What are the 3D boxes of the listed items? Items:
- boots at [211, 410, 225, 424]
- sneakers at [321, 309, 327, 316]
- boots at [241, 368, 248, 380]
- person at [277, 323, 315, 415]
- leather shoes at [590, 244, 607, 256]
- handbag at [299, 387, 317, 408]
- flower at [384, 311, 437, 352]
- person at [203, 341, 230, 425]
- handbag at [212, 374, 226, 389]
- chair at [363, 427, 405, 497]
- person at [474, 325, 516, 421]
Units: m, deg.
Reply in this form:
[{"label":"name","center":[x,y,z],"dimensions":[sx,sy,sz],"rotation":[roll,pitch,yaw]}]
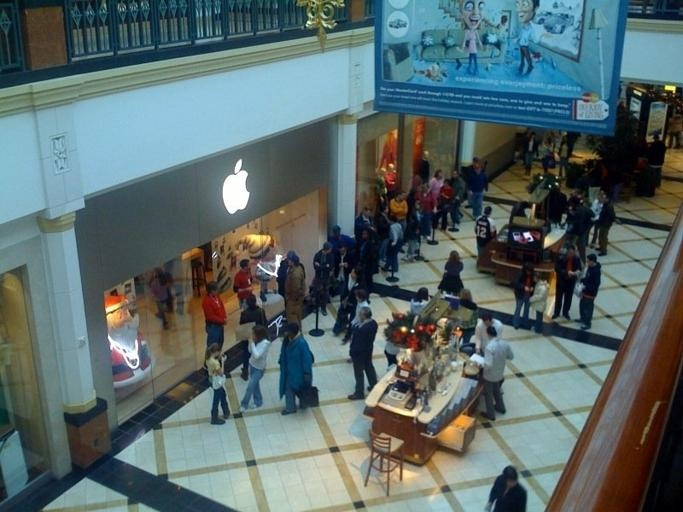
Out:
[{"label":"boots","center":[-1.929,2.533,8.273],"dimensions":[0.239,0.250,0.132],"rotation":[-6,42,-13]},{"label":"sneakers","center":[-0.381,1.177,11.237],"dimensions":[0.063,0.114,0.165],"rotation":[-6,28,-9]},{"label":"boots","center":[-1.685,2.066,9.339],"dimensions":[0.148,0.167,0.152],"rotation":[6,-1,9]},{"label":"person","center":[-0.728,1.745,8.263],"dimensions":[0.497,1.544,0.692],"rotation":[-5,4,-32]},{"label":"leather shoes","center":[6.657,-0.112,13.778],"dimensions":[0.233,0.130,0.344],"rotation":[-7,33,-17]},{"label":"handbag","center":[-0.531,2.199,8.354],"dimensions":[0.247,0.248,0.188],"rotation":[-12,32,-27]},{"label":"flower","center":[0.928,1.011,7.281],"dimensions":[0.704,0.468,0.367],"rotation":[-3,4,4]},{"label":"person","center":[-1.980,2.047,8.384],"dimensions":[0.364,1.286,0.433],"rotation":[-12,53,-17]},{"label":"handbag","center":[-1.848,1.871,7.963],"dimensions":[0.187,0.283,0.282],"rotation":[-4,4,-15]},{"label":"chair","center":[0.569,2.721,7.297],"dimensions":[0.561,0.843,0.836],"rotation":[-3,4,6]},{"label":"person","center":[2.376,1.801,8.227],"dimensions":[0.464,1.543,0.650],"rotation":[-3,3,7]}]
